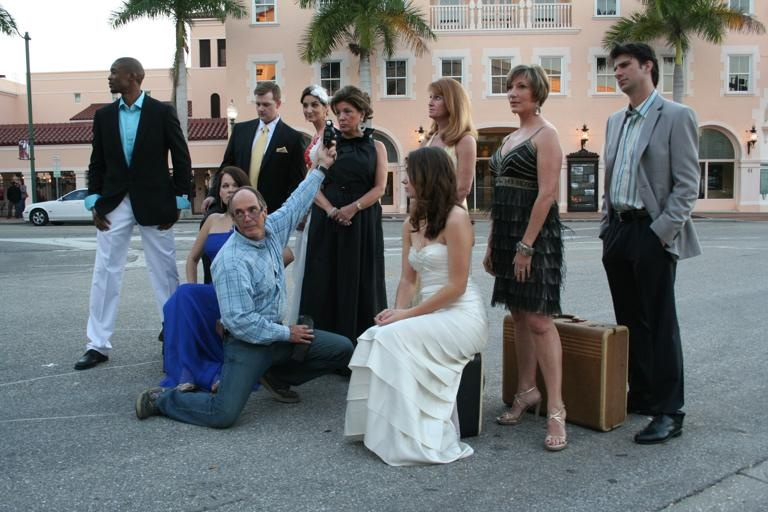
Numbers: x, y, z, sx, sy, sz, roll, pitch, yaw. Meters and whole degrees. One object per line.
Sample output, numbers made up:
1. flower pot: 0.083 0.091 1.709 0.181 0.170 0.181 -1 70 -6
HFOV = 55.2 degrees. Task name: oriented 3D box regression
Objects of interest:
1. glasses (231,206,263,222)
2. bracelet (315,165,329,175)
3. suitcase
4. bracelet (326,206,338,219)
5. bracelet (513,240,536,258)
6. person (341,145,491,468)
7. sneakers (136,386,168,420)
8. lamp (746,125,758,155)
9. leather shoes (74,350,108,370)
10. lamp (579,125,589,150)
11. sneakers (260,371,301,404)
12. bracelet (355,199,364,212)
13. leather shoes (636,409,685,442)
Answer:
1. glasses: -1.152 -0.345 6.152 0.237 0.115 0.091 -2 11 -15
2. bracelet: -0.578 -0.793 6.762 0.101 0.063 0.099 27 -6 -28
3. suitcase: 1.512 0.971 5.991 0.310 0.768 0.829 -7 9 -43
4. bracelet: -0.504 -0.407 7.116 0.028 0.105 0.102 19 -25 -26
5. bracelet: 1.117 -0.047 5.868 0.094 0.069 0.124 31 3 30
6. person: 0.286 0.343 5.766 0.927 2.290 1.095 6 12 25
7. sneakers: -1.970 1.230 6.237 0.139 0.131 0.342 1 18 13
8. lamp: 15.674 -4.866 31.312 0.421 1.234 0.688 6 12 27
9. leather shoes: -2.907 1.029 7.276 0.117 0.144 0.314 1 -2 19
10. lamp: 8.408 -4.952 30.898 0.289 0.988 0.411 7 13 31
11. sneakers: -0.902 1.173 6.539 0.414 0.201 0.170 37 5 -7
12. bracelet: -0.238 -0.480 7.127 0.027 0.091 0.090 -4 4 17
13. leather shoes: 2.190 1.346 5.840 0.435 0.221 0.175 -10 10 -17
